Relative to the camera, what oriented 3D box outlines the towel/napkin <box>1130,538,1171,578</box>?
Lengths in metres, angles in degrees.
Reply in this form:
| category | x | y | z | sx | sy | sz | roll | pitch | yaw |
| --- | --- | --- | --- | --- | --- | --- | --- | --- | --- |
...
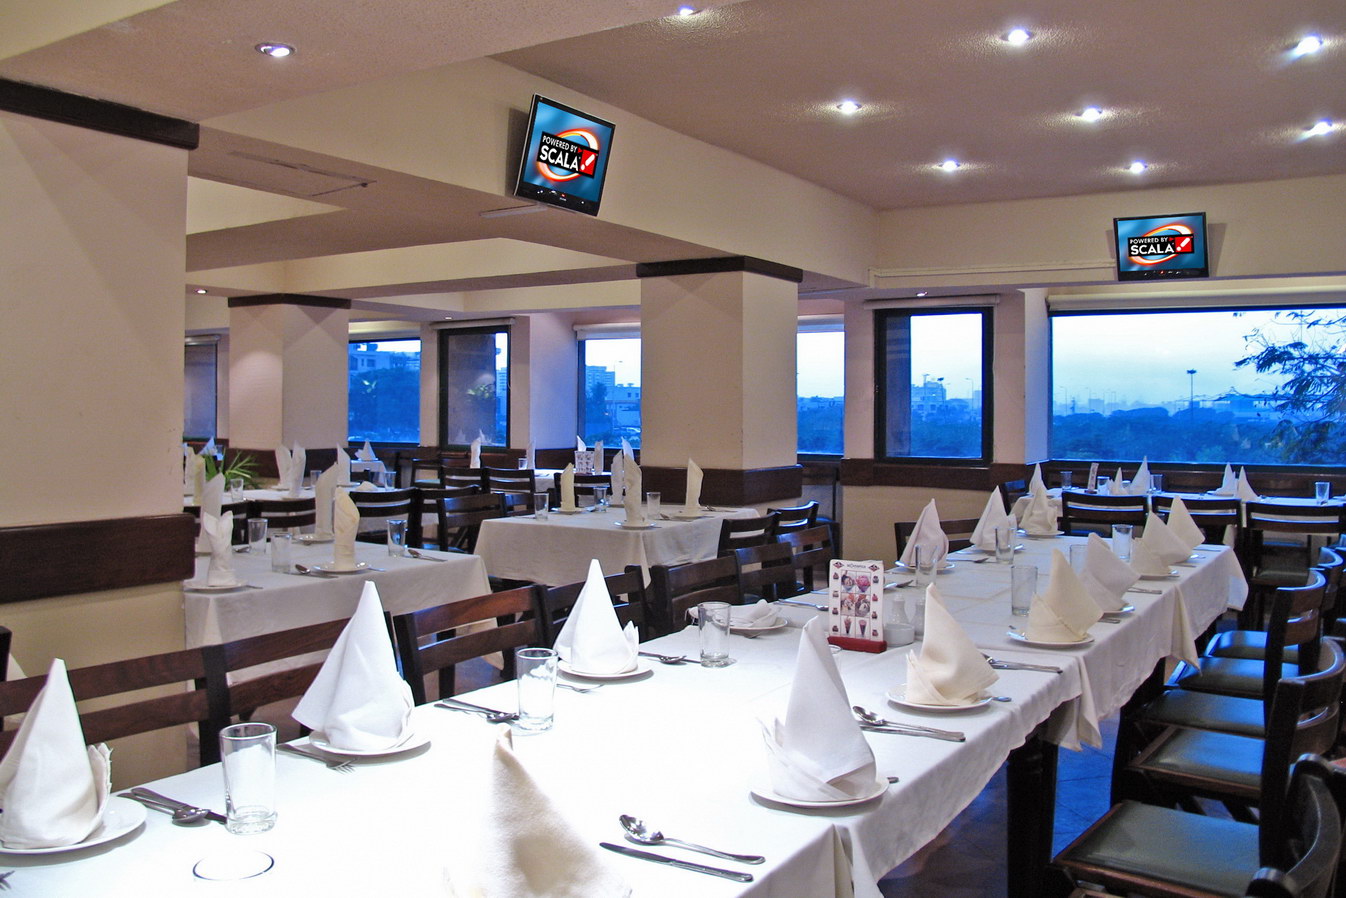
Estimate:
| category | x | y | z | sx | sy | sz | roll | pitch | yaw |
| --- | --- | --- | --- | --- | --- | --- | --- | --- | --- |
| towel/napkin | 2.250 | 0.523 | 4.610 | 0.148 | 0.154 | 0.149 | -10 | -3 | 34 |

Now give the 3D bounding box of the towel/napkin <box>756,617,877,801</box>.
| category | x | y | z | sx | sy | sz | roll | pitch | yaw |
| --- | --- | --- | --- | --- | --- | --- | --- | --- | --- |
| towel/napkin | 0.370 | 0.643 | 2.546 | 0.293 | 0.352 | 0.328 | -3 | 10 | 38 |

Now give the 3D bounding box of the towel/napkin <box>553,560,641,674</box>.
| category | x | y | z | sx | sy | sz | roll | pitch | yaw |
| --- | --- | --- | --- | --- | --- | --- | --- | --- | --- |
| towel/napkin | -0.234 | 0.553 | 3.312 | 0.344 | 0.373 | 0.344 | 1 | -1 | -33 |

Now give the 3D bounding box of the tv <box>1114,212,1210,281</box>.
| category | x | y | z | sx | sy | sz | roll | pitch | yaw |
| --- | --- | --- | --- | --- | --- | --- | --- | --- | --- |
| tv | 3.969 | -1.635 | 7.871 | 0.580 | 0.424 | 0.076 | 3 | 8 | 36 |

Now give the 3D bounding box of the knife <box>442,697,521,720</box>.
| category | x | y | z | sx | sy | sz | roll | pitch | yaw |
| --- | --- | --- | --- | --- | --- | --- | --- | --- | --- |
| knife | -0.575 | 0.779 | 2.875 | 0.264 | 0.021 | 0.079 | 5 | 17 | 18 |

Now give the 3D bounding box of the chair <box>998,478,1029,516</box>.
| category | x | y | z | sx | sy | sz | roll | pitch | yaw |
| --- | --- | --- | --- | --- | --- | --- | --- | --- | --- |
| chair | 2.469 | 0.362 | 7.070 | 0.259 | 0.324 | 0.233 | 1 | -1 | -28 |

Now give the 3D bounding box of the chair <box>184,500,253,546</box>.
| category | x | y | z | sx | sy | sz | roll | pitch | yaw |
| --- | --- | --- | --- | --- | --- | --- | --- | --- | --- |
| chair | -2.364 | 0.398 | 5.058 | 0.290 | 0.136 | 0.204 | 0 | -1 | 28 |

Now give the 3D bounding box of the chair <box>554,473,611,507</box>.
| category | x | y | z | sx | sy | sz | roll | pitch | yaw |
| --- | --- | --- | --- | --- | --- | --- | --- | --- | --- |
| chair | -0.793 | 0.357 | 8.640 | 0.304 | 0.279 | 0.423 | -1 | 3 | -22 |

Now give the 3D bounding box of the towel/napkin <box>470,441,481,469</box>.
| category | x | y | z | sx | sy | sz | roll | pitch | yaw |
| --- | --- | --- | --- | --- | --- | --- | --- | --- | --- |
| towel/napkin | -1.986 | 0.046 | 9.781 | 0.060 | 0.235 | 0.189 | -2 | 3 | -23 |

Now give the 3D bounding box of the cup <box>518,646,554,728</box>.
| category | x | y | z | sx | sy | sz | roll | pitch | yaw |
| --- | --- | --- | --- | --- | --- | --- | --- | --- | --- |
| cup | -0.408 | 0.695 | 2.767 | 0.145 | 0.218 | 0.141 | -1 | -20 | -1 |

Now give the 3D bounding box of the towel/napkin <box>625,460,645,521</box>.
| category | x | y | z | sx | sy | sz | roll | pitch | yaw |
| --- | --- | --- | --- | --- | --- | --- | --- | --- | --- |
| towel/napkin | -0.257 | 0.294 | 6.224 | 0.099 | 0.404 | 0.191 | -1 | 3 | -3 |

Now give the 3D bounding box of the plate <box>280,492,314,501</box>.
| category | x | y | z | sx | sy | sz | roll | pitch | yaw |
| --- | --- | --- | --- | --- | --- | --- | --- | --- | --- |
| plate | -2.789 | 0.363 | 7.249 | 0.232 | 0.050 | 0.211 | 2 | 2 | 6 |

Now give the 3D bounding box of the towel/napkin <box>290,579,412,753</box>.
| category | x | y | z | sx | sy | sz | roll | pitch | yaw |
| --- | --- | --- | --- | --- | --- | --- | --- | --- | --- |
| towel/napkin | -0.851 | 0.631 | 2.680 | 0.342 | 0.373 | 0.281 | 3 | 1 | -13 |

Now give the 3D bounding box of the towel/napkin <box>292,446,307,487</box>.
| category | x | y | z | sx | sy | sz | roll | pitch | yaw |
| --- | --- | --- | --- | --- | --- | --- | --- | --- | --- |
| towel/napkin | -2.899 | 0.145 | 7.532 | 0.067 | 0.325 | 0.450 | -2 | 2 | -17 |

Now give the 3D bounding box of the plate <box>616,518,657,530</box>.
| category | x | y | z | sx | sy | sz | roll | pitch | yaw |
| --- | --- | --- | --- | --- | --- | --- | --- | --- | --- |
| plate | -0.234 | 0.486 | 6.327 | 0.236 | 0.050 | 0.369 | -1 | 2 | 0 |

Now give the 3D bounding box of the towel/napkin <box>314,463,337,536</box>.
| category | x | y | z | sx | sy | sz | roll | pitch | yaw |
| --- | --- | --- | --- | --- | --- | --- | --- | --- | --- |
| towel/napkin | -1.930 | 0.306 | 5.385 | 0.109 | 0.433 | 0.051 | 7 | -16 | -35 |

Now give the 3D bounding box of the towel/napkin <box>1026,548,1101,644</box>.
| category | x | y | z | sx | sy | sz | roll | pitch | yaw |
| --- | --- | --- | --- | --- | --- | --- | --- | --- | --- |
| towel/napkin | 1.457 | 0.532 | 3.634 | 0.239 | 0.321 | 0.277 | -8 | 14 | 7 |

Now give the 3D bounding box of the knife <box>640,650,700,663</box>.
| category | x | y | z | sx | sy | sz | roll | pitch | yaw |
| --- | --- | --- | --- | --- | --- | --- | --- | --- | --- |
| knife | -0.017 | 0.716 | 3.329 | 0.146 | 0.017 | 0.025 | 0 | 6 | 39 |

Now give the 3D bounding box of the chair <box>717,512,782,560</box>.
| category | x | y | z | sx | sy | sz | roll | pitch | yaw |
| --- | --- | --- | --- | --- | --- | --- | --- | --- | --- |
| chair | 0.467 | 0.513 | 5.839 | 0.254 | 0.423 | 0.288 | -2 | 4 | -45 |

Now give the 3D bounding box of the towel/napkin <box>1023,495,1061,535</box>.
| category | x | y | z | sx | sy | sz | roll | pitch | yaw |
| --- | --- | --- | --- | --- | --- | --- | --- | --- | --- |
| towel/napkin | 2.307 | 0.427 | 6.105 | 0.237 | 0.261 | 0.240 | -4 | 5 | -44 |

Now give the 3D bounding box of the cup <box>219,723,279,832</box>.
| category | x | y | z | sx | sy | sz | roll | pitch | yaw |
| --- | --- | --- | --- | --- | --- | --- | --- | --- | --- |
| cup | -1.011 | 0.775 | 2.319 | 0.114 | 0.252 | 0.143 | -2 | 3 | -23 |

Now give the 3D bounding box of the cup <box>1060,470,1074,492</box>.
| category | x | y | z | sx | sy | sz | roll | pitch | yaw |
| --- | --- | --- | --- | --- | --- | --- | --- | --- | --- |
| cup | 3.683 | 0.314 | 9.132 | 0.132 | 0.191 | 0.129 | -1 | 9 | 0 |

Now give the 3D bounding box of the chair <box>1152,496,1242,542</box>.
| category | x | y | z | sx | sy | sz | roll | pitch | yaw |
| --- | --- | --- | --- | --- | --- | --- | --- | --- | --- |
| chair | 3.388 | 0.463 | 6.267 | 0.390 | 0.248 | 0.384 | 1 | 6 | 17 |

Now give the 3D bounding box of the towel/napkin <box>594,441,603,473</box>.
| category | x | y | z | sx | sy | sz | roll | pitch | yaw |
| --- | --- | --- | --- | --- | --- | --- | --- | --- | --- |
| towel/napkin | -0.785 | 0.077 | 9.958 | 0.062 | 0.299 | 0.408 | -2 | 2 | -12 |

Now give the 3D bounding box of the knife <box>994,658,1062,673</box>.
| category | x | y | z | sx | sy | sz | roll | pitch | yaw |
| --- | --- | --- | --- | --- | --- | --- | --- | --- | --- |
| knife | 1.186 | 0.734 | 3.265 | 0.179 | 0.025 | 0.035 | 3 | 12 | 22 |

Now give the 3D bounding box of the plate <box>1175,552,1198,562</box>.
| category | x | y | z | sx | sy | sz | roll | pitch | yaw |
| --- | --- | --- | --- | --- | --- | --- | --- | --- | --- |
| plate | 2.579 | 0.559 | 4.910 | 0.101 | 0.023 | 0.101 | -6 | 3 | 30 |

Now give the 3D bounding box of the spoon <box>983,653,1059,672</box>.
| category | x | y | z | sx | sy | sz | roll | pitch | yaw |
| --- | --- | --- | --- | --- | --- | --- | --- | --- | --- |
| spoon | 1.164 | 0.726 | 3.270 | 0.289 | 0.040 | 0.083 | -1 | 13 | 19 |

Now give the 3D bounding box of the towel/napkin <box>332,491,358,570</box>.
| category | x | y | z | sx | sy | sz | roll | pitch | yaw |
| --- | --- | --- | --- | --- | --- | --- | --- | --- | --- |
| towel/napkin | -1.577 | 0.393 | 4.703 | 0.126 | 0.407 | 0.097 | 4 | 15 | -13 |

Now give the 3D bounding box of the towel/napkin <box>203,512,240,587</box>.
| category | x | y | z | sx | sy | sz | roll | pitch | yaw |
| --- | --- | --- | --- | --- | --- | --- | --- | --- | --- |
| towel/napkin | -2.032 | 0.452 | 4.360 | 0.133 | 0.306 | 0.146 | 6 | 8 | 45 |

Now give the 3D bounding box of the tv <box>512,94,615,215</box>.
| category | x | y | z | sx | sy | sz | roll | pitch | yaw |
| --- | --- | --- | --- | --- | --- | --- | --- | --- | --- |
| tv | -0.615 | -1.719 | 5.738 | 0.662 | 0.562 | 0.059 | 24 | 23 | 28 |

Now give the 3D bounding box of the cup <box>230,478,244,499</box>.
| category | x | y | z | sx | sy | sz | roll | pitch | yaw |
| --- | --- | --- | --- | --- | --- | --- | --- | --- | --- |
| cup | -3.418 | 0.320 | 7.613 | 0.124 | 0.183 | 0.121 | 3 | -1 | 0 |

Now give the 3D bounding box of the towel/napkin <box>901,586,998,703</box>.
| category | x | y | z | sx | sy | sz | roll | pitch | yaw |
| --- | --- | --- | --- | --- | --- | --- | --- | --- | --- |
| towel/napkin | 0.869 | 0.606 | 3.103 | 0.335 | 0.419 | 0.327 | 0 | 0 | 22 |

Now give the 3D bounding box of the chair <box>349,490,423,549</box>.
| category | x | y | z | sx | sy | sz | roll | pitch | yaw |
| --- | --- | --- | --- | --- | --- | --- | --- | --- | --- |
| chair | -1.866 | 0.453 | 6.354 | 0.476 | 0.522 | 0.377 | 1 | 7 | -4 |

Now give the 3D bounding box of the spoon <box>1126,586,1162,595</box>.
| category | x | y | z | sx | sy | sz | roll | pitch | yaw |
| --- | --- | --- | --- | --- | --- | --- | --- | --- | --- |
| spoon | 2.102 | 0.633 | 4.335 | 0.046 | 0.044 | 0.316 | 3 | -7 | 39 |

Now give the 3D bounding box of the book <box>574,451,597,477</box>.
| category | x | y | z | sx | sy | sz | roll | pitch | yaw |
| --- | --- | --- | --- | --- | --- | --- | --- | --- | --- |
| book | -0.924 | 0.164 | 10.346 | 0.263 | 0.244 | 0.258 | 4 | 6 | 39 |

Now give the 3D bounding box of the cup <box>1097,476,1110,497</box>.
| category | x | y | z | sx | sy | sz | roll | pitch | yaw |
| --- | --- | --- | --- | --- | --- | --- | --- | --- | --- |
| cup | 3.696 | 0.340 | 8.380 | 0.066 | 0.064 | 0.109 | 0 | 23 | 14 |
